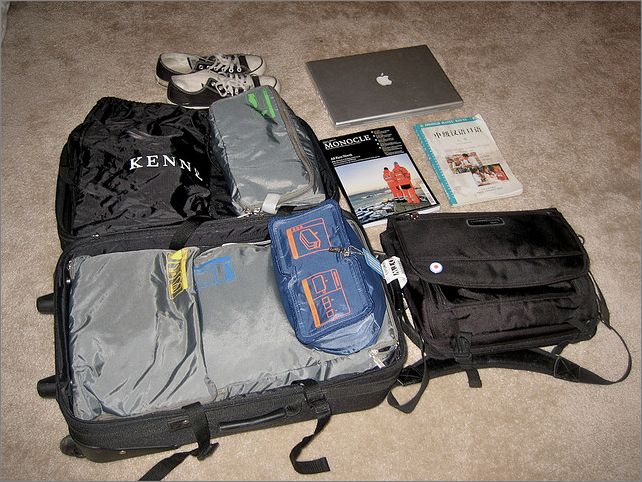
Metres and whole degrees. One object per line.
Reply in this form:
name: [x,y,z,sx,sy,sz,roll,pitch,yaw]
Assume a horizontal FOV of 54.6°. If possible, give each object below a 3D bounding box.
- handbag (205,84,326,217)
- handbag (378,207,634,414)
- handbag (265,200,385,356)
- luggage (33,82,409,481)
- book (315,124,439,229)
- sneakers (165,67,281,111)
handbag: [-0.193,-0.298,2.066,0.312,0.135,0.447,-15,72,-9]
handbag: [0.550,0.159,1.844,0.685,0.229,0.692,-5,64,-4]
handbag: [0.019,0.109,1.891,0.309,0.105,0.465,-25,69,-3]
luggage: [-0.382,0.132,1.976,1.099,0.327,1.307,-22,78,-3]
book: [0.207,-0.226,2.308,0.339,0.048,0.464,-13,55,-12]
sneakers: [-0.345,-0.580,2.432,0.488,0.162,0.171,-5,72,-6]
